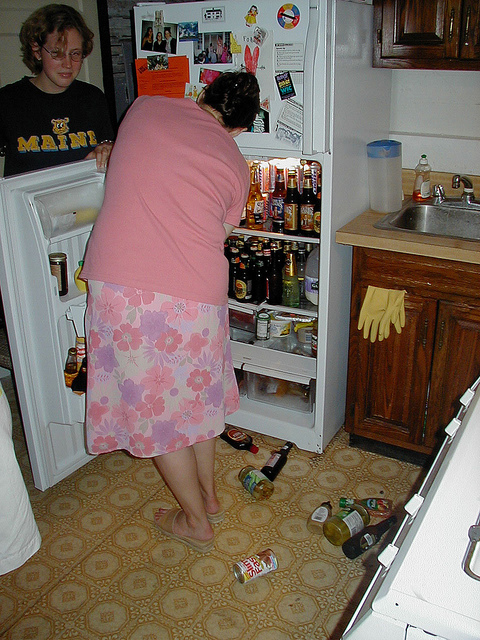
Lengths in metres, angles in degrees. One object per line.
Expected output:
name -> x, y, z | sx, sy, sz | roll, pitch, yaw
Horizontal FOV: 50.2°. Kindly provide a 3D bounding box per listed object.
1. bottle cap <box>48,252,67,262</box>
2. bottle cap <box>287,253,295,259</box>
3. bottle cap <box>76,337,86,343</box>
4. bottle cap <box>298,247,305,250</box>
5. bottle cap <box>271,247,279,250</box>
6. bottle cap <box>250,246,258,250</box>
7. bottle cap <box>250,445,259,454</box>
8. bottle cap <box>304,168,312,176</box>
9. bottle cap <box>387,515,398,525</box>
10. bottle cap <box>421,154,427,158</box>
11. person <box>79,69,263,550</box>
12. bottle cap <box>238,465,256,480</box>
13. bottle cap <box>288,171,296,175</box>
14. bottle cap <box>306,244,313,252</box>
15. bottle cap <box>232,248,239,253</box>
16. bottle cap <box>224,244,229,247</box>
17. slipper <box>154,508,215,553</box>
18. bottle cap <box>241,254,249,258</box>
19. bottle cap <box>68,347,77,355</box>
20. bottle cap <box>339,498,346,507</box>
bottle cap -> -0.622, -0.209, 1.743 | 0.054, 0.020, 0.053 | -9, 22, -18
bottle cap -> 0.211, -0.265, 2.138 | 0.028, 0.023, 0.017 | -5, 21, -8
bottle cap -> -0.575, 0.073, 1.841 | 0.023, 0.013, 0.022 | -10, 32, -31
bottle cap -> 0.271, -0.321, 2.335 | 0.014, 0.003, 0.013 | 1, 51, 9
bottle cap -> 0.148, -0.299, 2.167 | 0.034, 0.014, 0.016 | -10, 22, -20
bottle cap -> 0.059, -0.303, 2.179 | 0.037, 0.014, 0.013 | 8, 23, 24
bottle cap -> 0.062, 0.579, 2.299 | 0.038, 0.035, 0.043 | 1, 21, 7
bottle cap -> 0.274, -0.591, 2.057 | 0.027, 0.025, 0.049 | 1, 21, 7
bottle cap -> 0.545, 0.711, 1.831 | 0.030, 0.029, 0.007 | 21, 41, 20
bottle cap -> 0.805, -0.714, 2.238 | 0.019, 0.010, 0.019 | -6, 27, -1
person -> -0.194, 0.096, 1.549 | 0.580, 1.521, 0.308 | -10, 22, -19
bottle cap -> 0.022, 0.628, 2.143 | 0.059, 0.059, 0.059 | 25, -10, 36
bottle cap -> 0.205, -0.585, 2.051 | 0.023, 0.012, 0.029 | 0, 21, 5
bottle cap -> 0.312, -0.323, 2.302 | 0.023, 0.037, 0.060 | 11, 24, 29
bottle cap -> -0.021, -0.301, 2.245 | 0.024, 0.014, 0.040 | -7, 22, -14
bottle cap -> -0.064, -0.333, 2.258 | 0.031, 0.007, 0.031 | 4, 31, 11
slipper -> -0.212, 0.753, 1.878 | 0.278, 0.086, 0.113 | 8, 8, 35
bottle cap -> 0.015, -0.270, 2.158 | 0.018, 0.004, 0.018 | 1, 28, 2
bottle cap -> -0.619, 0.115, 1.889 | 0.026, 0.019, 0.026 | 15, 32, 11
bottle cap -> 0.392, 0.694, 1.963 | 0.021, 0.028, 0.047 | 2, 21, 9
